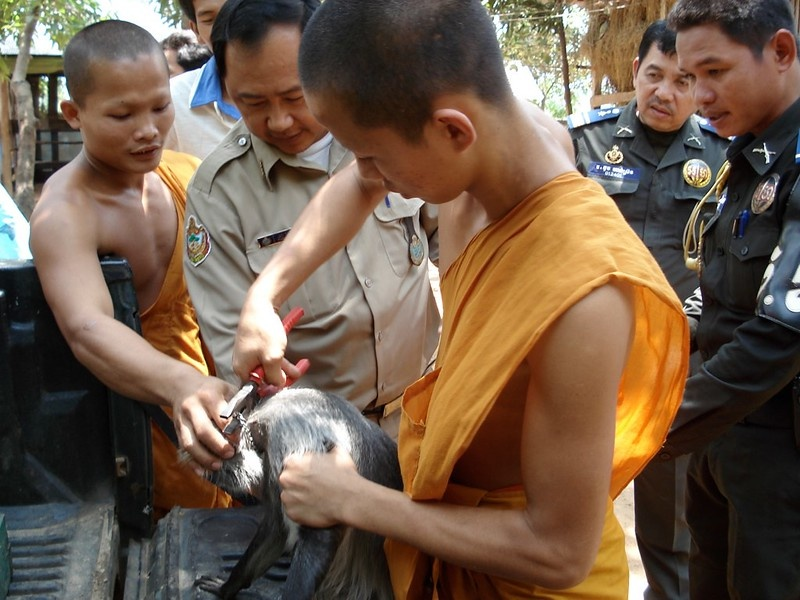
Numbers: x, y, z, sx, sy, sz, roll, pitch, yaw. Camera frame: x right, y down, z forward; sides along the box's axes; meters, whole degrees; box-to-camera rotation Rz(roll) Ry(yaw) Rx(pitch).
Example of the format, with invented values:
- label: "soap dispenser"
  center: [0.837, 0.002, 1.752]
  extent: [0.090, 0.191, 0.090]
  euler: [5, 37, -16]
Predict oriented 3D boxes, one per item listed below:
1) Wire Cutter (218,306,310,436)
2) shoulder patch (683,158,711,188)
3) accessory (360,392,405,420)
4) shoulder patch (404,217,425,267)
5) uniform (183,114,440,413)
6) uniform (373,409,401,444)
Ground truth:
- label: "Wire Cutter"
  center: [-0.442, 0.242, 2.379]
  extent: [0.105, 0.172, 0.435]
  euler: [-9, 26, 43]
- label: "shoulder patch"
  center: [1.811, -0.789, 4.583]
  extent: [0.162, 0.193, 0.025]
  euler: [0, -12, -10]
- label: "accessory"
  center: [-0.071, 0.463, 3.173]
  extent: [0.143, 0.051, 0.126]
  euler: [-16, 0, -11]
- label: "shoulder patch"
  center: [0.063, -0.257, 3.211]
  extent: [0.039, 0.183, 0.124]
  euler: [-7, -10, 27]
- label: "uniform"
  center: [-0.332, -0.130, 2.749]
  extent: [0.834, 0.739, 0.458]
  euler: [-33, 25, -19]
- label: "uniform"
  center: [-0.052, 0.543, 3.206]
  extent: [0.089, 0.032, 0.130]
  euler: [25, 32, 16]
